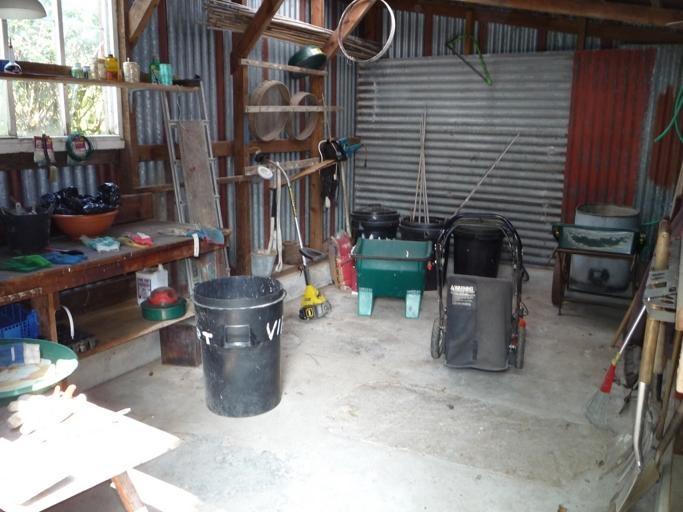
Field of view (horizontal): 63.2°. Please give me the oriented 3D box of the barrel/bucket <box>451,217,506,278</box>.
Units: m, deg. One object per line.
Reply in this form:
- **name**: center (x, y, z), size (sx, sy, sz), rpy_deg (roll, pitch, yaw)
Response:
- **barrel/bucket**: center (1.857, -0.149, 7.706), size (0.865, 0.866, 0.912), rpy_deg (3, -5, 0)

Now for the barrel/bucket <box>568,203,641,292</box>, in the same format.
- **barrel/bucket**: center (3.285, -0.091, 6.908), size (0.599, 1.009, 0.653), rpy_deg (-3, 16, 1)

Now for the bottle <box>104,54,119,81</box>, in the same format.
- **bottle**: center (-2.075, -1.714, 5.012), size (0.093, 0.221, 0.217), rpy_deg (-2, 14, -16)

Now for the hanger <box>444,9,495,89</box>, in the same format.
- **hanger**: center (1.965, -3.119, 8.619), size (0.837, 0.861, 0.415), rpy_deg (8, 15, 22)

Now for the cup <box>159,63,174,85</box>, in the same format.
- **cup**: center (-1.712, -1.777, 5.393), size (0.115, 0.204, 0.192), rpy_deg (-4, 15, -22)

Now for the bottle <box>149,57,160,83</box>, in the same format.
- **bottle**: center (-1.814, -1.808, 5.376), size (0.093, 0.232, 0.125), rpy_deg (-3, 14, -19)

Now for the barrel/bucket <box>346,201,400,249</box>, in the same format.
- **barrel/bucket**: center (0.458, -0.436, 7.892), size (0.541, 0.617, 0.564), rpy_deg (1, 9, 0)

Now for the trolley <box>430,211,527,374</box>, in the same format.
- **trolley**: center (1.353, 0.290, 5.333), size (1.014, 1.525, 1.146), rpy_deg (-2, 10, -6)

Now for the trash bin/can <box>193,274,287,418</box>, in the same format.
- **trash bin/can**: center (-0.814, 0.761, 4.547), size (0.727, 0.940, 0.781), rpy_deg (3, 8, 35)

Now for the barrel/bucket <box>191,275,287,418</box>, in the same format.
- **barrel/bucket**: center (-0.822, 0.767, 4.544), size (0.757, 0.927, 0.705), rpy_deg (-1, 5, 0)

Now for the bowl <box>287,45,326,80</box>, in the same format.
- **bowl**: center (-0.499, -2.651, 7.509), size (0.403, 0.162, 0.365), rpy_deg (-22, -20, 35)
